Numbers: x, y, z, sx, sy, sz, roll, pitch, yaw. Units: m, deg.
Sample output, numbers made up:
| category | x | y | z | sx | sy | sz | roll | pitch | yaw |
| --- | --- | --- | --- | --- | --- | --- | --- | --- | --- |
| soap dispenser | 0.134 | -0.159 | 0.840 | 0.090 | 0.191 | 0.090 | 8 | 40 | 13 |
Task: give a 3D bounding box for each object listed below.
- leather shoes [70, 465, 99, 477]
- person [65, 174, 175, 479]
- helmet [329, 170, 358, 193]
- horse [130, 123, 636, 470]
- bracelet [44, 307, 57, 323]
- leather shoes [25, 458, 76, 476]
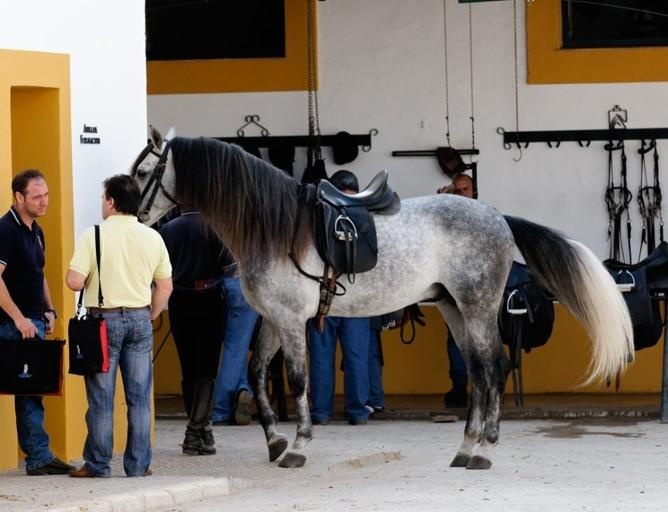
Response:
| category | x | y | z | sx | sy | sz | roll | pitch | yaw |
| --- | --- | --- | --- | --- | --- | --- | --- | --- | --- |
| leather shoes | -1.766 | 1.558 | 9.722 | 0.204 | 0.089 | 0.075 | 4 | -13 | 11 |
| person | -1.507 | 0.506 | 9.663 | 0.737 | 2.154 | 0.288 | -2 | 5 | -10 |
| helmet | 0.105 | -0.648 | 11.851 | 0.164 | 0.200 | 0.224 | -1 | 13 | -29 |
| horse | 0.363 | 0.432 | 10.414 | 4.074 | 2.388 | 0.925 | 2 | -9 | -11 |
| bracelet | -2.074 | 0.436 | 9.978 | 0.105 | 0.106 | 0.044 | 4 | -15 | -20 |
| leather shoes | -2.035 | 1.550 | 9.828 | 0.388 | 0.168 | 0.132 | -2 | -3 | -7 |
